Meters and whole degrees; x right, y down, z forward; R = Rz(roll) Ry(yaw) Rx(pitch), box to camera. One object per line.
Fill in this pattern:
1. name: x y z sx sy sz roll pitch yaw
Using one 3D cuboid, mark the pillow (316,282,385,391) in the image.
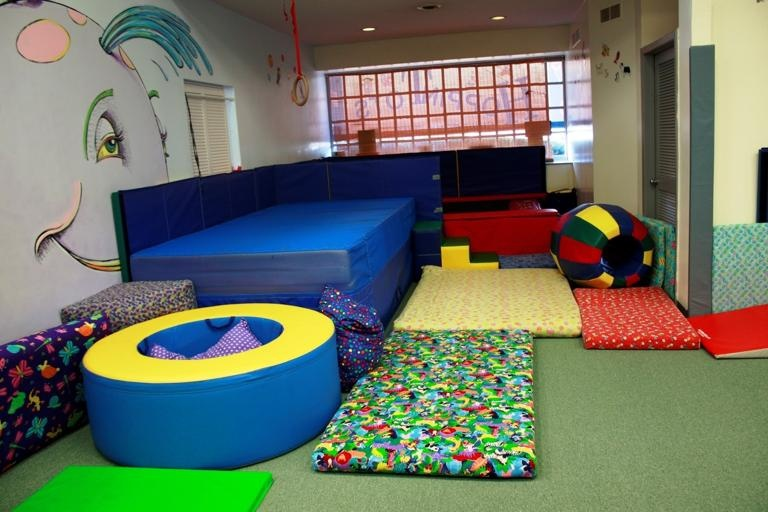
1. pillow: -0.219 0.575 3.404 0.374 0.628 0.481 -4 19 -10
